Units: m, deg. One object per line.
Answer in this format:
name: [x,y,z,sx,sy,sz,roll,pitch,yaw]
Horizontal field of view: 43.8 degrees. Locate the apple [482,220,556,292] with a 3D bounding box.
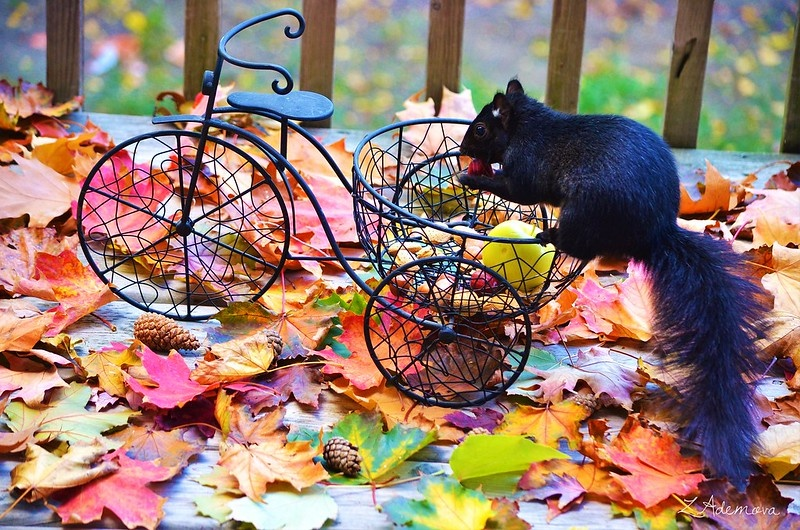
apple: [0.366,-0.024,3.064,0.198,0.236,0.239,-2,20,-1]

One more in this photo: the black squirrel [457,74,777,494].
black squirrel: [0.619,0.040,2.921,0.882,1.084,0.284,5,2,19]

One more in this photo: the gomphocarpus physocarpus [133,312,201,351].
gomphocarpus physocarpus: [-0.727,0.217,3.103,0.191,0.091,0.097,22,32,9]

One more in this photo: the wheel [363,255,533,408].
wheel: [0.164,0.233,2.997,0.488,0.453,0.136,0,15,9]

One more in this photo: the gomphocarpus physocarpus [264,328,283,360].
gomphocarpus physocarpus: [-0.385,0.240,3.034,0.032,0.076,0.061,-18,-26,21]

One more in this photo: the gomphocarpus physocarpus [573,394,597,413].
gomphocarpus physocarpus: [0.545,0.406,2.929,0.065,0.026,0.057,11,11,13]

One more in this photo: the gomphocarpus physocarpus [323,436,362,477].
gomphocarpus physocarpus: [-0.168,0.543,2.769,0.122,0.076,0.068,17,-37,-22]
